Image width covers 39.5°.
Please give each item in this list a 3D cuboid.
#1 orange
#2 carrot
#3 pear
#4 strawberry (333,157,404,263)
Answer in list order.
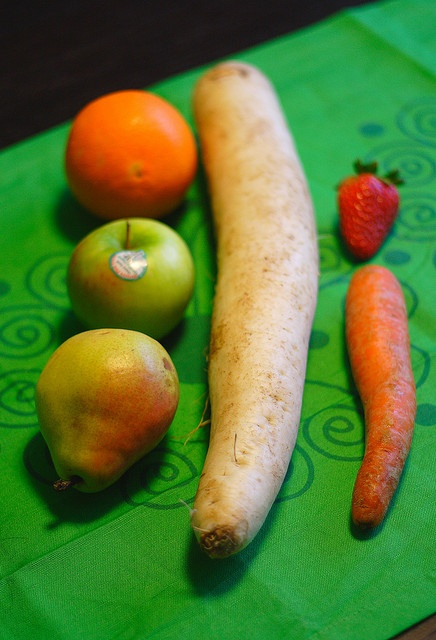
[{"bbox_3d":[-0.085,-0.174,0.660,0.132,0.146,0.126,3,80,29],"label":"orange"},{"bbox_3d":[0.137,0.049,0.507,0.057,0.036,0.262,4,49,6],"label":"carrot"},{"bbox_3d":[-0.084,0.066,0.475,0.111,0.086,0.106,-18,51,-13],"label":"pear"},{"bbox_3d":[0.157,-0.112,0.643,0.064,0.053,0.096,7,50,8],"label":"strawberry"}]
